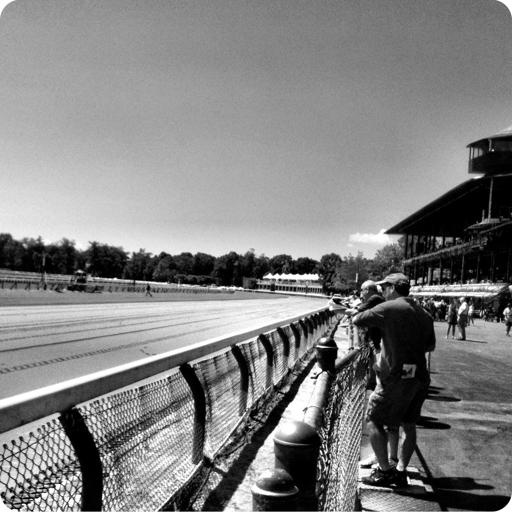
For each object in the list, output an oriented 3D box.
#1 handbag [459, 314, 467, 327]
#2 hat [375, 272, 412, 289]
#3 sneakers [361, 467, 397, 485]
[{"bbox_3d":[11.322,3.541,20.947,0.335,0.666,0.404,-25,34,-35],"label":"handbag"},{"bbox_3d":[1.423,0.269,3.996,0.196,0.136,0.282,11,-12,-43],"label":"hat"},{"bbox_3d":[1.198,2.147,3.749,0.345,0.169,0.138,-8,-19,20],"label":"sneakers"}]
